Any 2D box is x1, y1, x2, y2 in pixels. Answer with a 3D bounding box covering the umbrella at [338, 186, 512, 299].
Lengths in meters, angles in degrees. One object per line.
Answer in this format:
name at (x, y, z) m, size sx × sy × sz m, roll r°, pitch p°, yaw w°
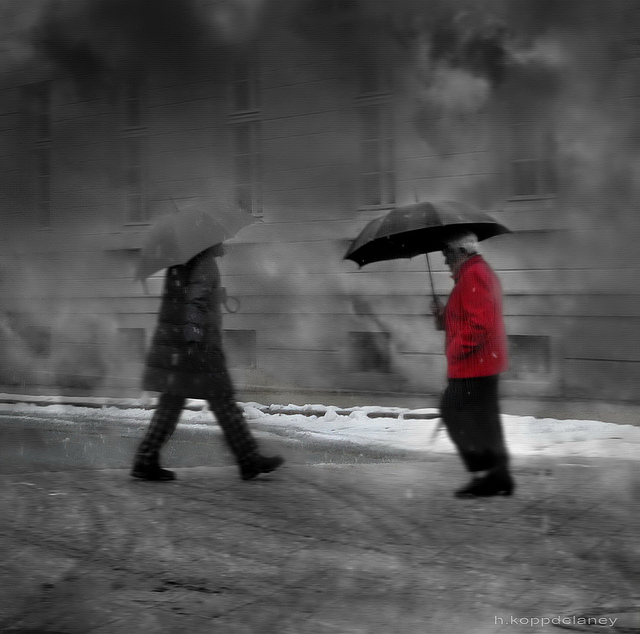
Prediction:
umbrella at (0.679, -0.576, 5.383) m, size 1.081 × 0.899 × 0.664 m, roll -15°, pitch 82°, yaw -8°
